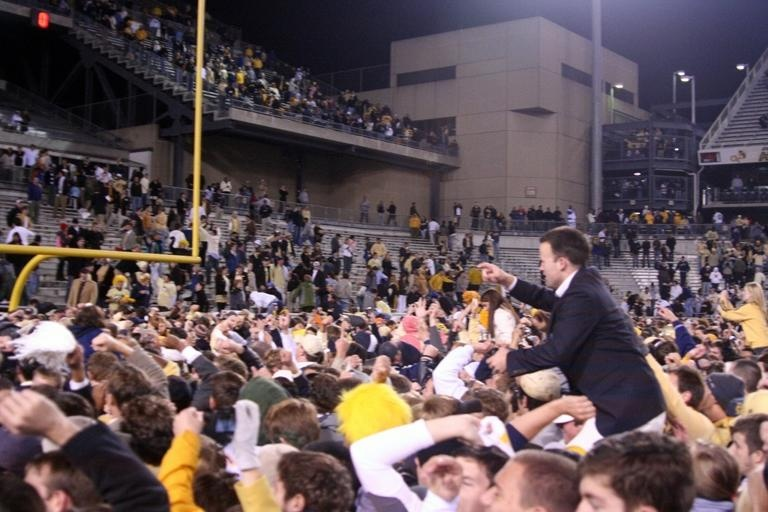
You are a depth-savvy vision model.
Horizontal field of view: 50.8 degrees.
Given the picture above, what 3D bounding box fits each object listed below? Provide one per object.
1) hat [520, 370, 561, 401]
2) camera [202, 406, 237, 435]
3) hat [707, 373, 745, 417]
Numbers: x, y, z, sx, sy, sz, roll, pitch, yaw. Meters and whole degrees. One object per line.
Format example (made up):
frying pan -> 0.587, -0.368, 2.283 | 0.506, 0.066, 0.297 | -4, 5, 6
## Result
hat -> 1.256, 1.063, 6.685 | 0.241, 0.165, 0.314 | -33, 34, -19
camera -> -1.315, 1.316, 6.598 | 0.273, 0.256, 0.469 | 3, -9, -11
hat -> 3.086, 1.254, 7.360 | 0.325, 0.405, 0.341 | 4, 1, 23
